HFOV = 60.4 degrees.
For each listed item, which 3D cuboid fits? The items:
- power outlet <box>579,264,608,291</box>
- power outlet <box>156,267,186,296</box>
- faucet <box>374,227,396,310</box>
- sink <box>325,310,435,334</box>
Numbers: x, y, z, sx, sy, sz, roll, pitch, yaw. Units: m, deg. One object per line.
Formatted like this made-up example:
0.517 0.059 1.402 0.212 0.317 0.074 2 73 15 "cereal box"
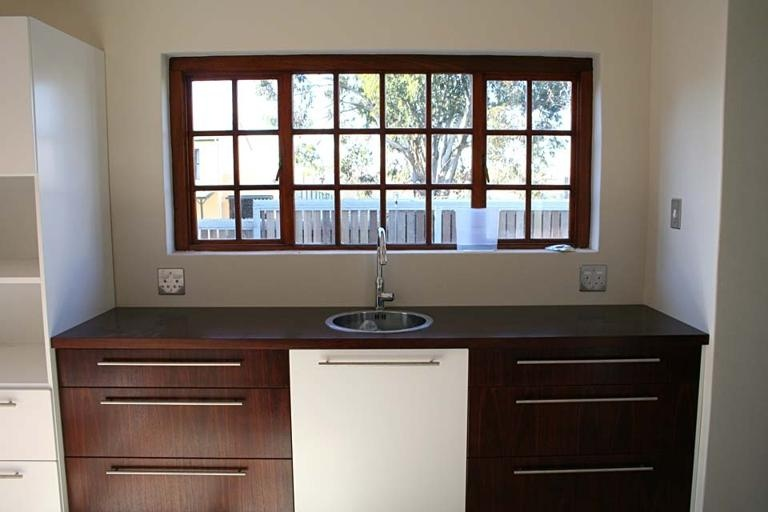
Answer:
1.270 0.122 3.980 0.136 0.149 0.025 1 10 2 "power outlet"
-1.290 0.144 3.969 0.149 0.163 0.016 0 11 -1 "power outlet"
0.007 0.077 3.902 0.108 0.477 0.256 -1 1 1 "faucet"
-0.027 0.378 3.723 0.609 0.119 0.413 -1 0 3 "sink"
